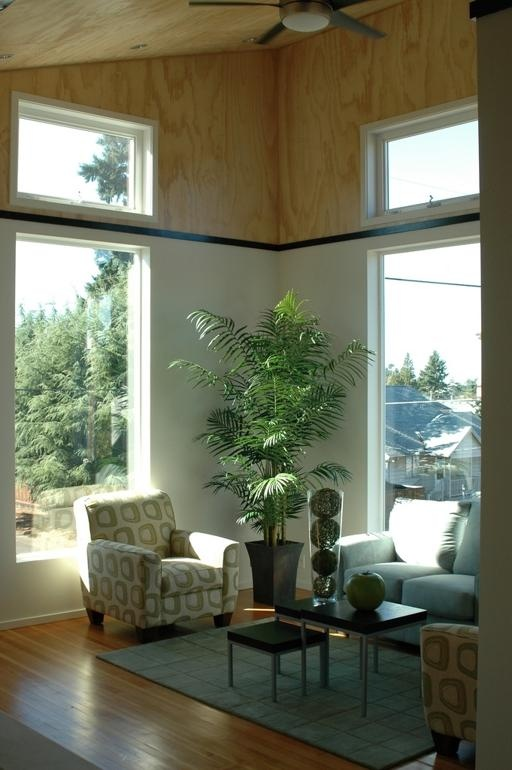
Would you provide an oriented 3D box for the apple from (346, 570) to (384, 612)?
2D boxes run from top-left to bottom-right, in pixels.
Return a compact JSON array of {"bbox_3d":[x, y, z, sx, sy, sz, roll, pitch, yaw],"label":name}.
[{"bbox_3d":[0.523,1.018,3.295,0.189,0.191,0.187,0,-7,-3],"label":"apple"}]

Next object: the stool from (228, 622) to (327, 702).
[{"bbox_3d":[0.110,1.323,3.360,0.408,0.306,0.382,4,-5,-41],"label":"stool"}]

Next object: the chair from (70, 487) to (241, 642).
[{"bbox_3d":[-0.726,1.184,4.744,0.927,1.047,1.066,5,-11,-38],"label":"chair"}]

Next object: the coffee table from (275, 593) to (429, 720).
[{"bbox_3d":[0.438,1.350,3.372,0.510,0.431,0.663,6,-8,-44],"label":"coffee table"}]
